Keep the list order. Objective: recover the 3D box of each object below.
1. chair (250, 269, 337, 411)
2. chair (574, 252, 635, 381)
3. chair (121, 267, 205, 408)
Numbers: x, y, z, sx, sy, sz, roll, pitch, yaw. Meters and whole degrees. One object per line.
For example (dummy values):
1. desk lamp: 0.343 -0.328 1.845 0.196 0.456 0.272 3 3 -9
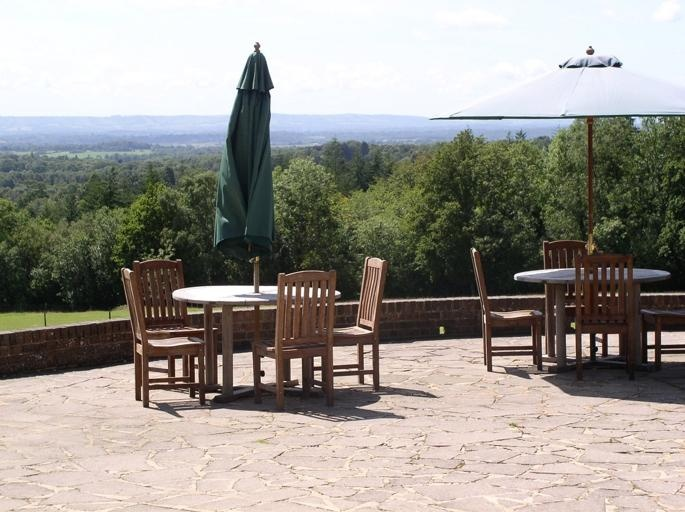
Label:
1. chair: -0.490 0.854 8.416 0.913 0.947 1.041 -3 1 -10
2. chair: 3.060 0.674 9.199 0.957 1.416 0.885 -4 4 -43
3. chair: -1.973 0.844 8.839 0.809 1.158 1.328 -3 1 -15
